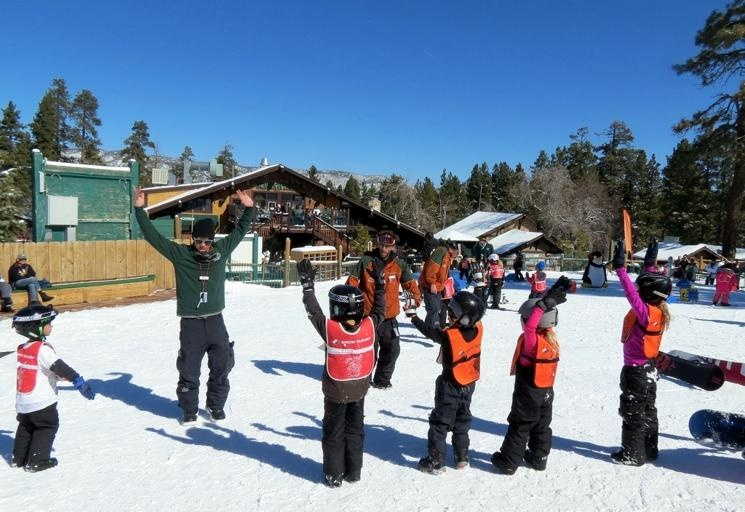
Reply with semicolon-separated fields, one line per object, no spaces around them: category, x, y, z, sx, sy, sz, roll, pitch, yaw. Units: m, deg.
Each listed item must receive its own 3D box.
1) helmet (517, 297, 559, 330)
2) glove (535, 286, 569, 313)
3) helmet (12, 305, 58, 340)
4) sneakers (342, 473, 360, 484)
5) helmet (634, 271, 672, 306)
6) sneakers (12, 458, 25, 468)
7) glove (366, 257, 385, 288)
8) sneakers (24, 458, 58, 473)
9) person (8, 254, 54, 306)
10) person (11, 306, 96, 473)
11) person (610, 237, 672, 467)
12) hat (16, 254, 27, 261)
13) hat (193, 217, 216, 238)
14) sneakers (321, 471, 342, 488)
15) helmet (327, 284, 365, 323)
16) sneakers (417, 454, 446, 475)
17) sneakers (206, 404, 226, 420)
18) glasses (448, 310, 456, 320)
helmet;2.312;0.780;7.548;0.507;0.414;0.390;-4;20;32
glove;2.466;0.620;7.437;0.395;0.289;0.122;-36;-14;-3
helmet;-4.812;0.897;7.680;0.562;0.479;0.462;1;6;-33
sneakers;-0.285;3.009;7.216;0.139;0.104;0.143;-1;-6;28
helmet;3.978;0.428;7.631;0.381;0.492;0.456;-1;10;-43
sneakers;-4.884;2.870;7.425;0.108;0.131;0.142;4;-4;-14
glove;-0.007;0.266;8.169;0.164;0.412;0.399;-5;-1;29
sneakers;-4.511;2.888;7.333;0.308;0.136;0.173;-5;10;-22
person;-9.440;0.657;14.854;1.238;1.326;0.839;6;10;30
person;-4.608;1.811;7.504;0.897;2.171;0.825;9;11;44
person;3.877;1.379;7.840;0.760;3.037;1.232;5;9;28
hat;-9.741;0.036;14.903;0.211;0.174;0.159;-7;-3;32
hat;-2.699;-0.441;8.582;0.384;0.347;0.286;-2;13;-25
sneakers;-0.540;2.995;7.120;0.125;0.160;0.248;2;-3;-41
helmet;-0.342;0.636;7.121;0.401;0.462;0.495;1;8;-6
sneakers;0.814;2.894;7.501;0.183;0.286;0.388;-1;4;-44
sneakers;-2.504;2.556;8.628;0.154;0.167;0.402;8;13;-32
glasses;1.104;0.824;7.456;0.090;0.128;0.071;8;-17;-34
